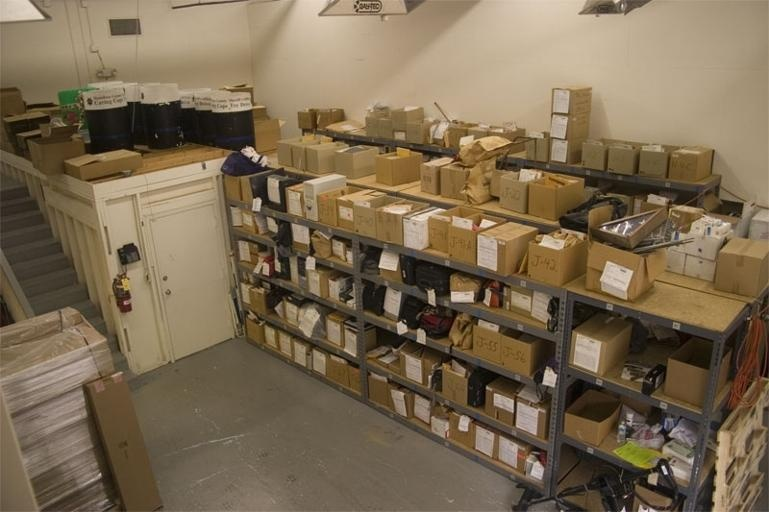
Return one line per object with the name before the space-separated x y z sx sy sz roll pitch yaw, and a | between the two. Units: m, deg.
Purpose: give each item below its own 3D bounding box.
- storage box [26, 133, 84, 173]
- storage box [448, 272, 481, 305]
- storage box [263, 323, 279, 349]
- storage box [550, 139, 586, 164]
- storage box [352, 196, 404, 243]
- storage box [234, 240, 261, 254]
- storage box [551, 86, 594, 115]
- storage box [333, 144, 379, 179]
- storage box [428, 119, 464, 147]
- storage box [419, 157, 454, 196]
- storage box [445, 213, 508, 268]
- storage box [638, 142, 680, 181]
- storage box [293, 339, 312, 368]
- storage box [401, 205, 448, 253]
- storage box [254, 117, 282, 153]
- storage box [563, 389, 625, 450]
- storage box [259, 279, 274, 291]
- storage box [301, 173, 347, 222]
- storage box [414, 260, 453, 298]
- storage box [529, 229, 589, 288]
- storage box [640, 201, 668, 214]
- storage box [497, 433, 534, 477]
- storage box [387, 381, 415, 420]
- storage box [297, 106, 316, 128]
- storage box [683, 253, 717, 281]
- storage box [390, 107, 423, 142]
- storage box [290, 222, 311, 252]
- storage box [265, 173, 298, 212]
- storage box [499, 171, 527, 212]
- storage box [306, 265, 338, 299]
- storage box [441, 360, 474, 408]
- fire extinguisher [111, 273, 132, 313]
storage box | -3.837 -1.229 6.195 0.528 0.315 0.534 20 31 33
storage box | 0.742 0.305 4.951 0.274 0.256 0.208 8 3 41
storage box | -1.435 1.008 6.719 0.273 0.251 0.164 20 32 36
storage box | 2.124 -1.192 6.161 0.314 0.213 0.316 -17 27 -39
storage box | -0.056 -0.355 5.454 0.477 0.285 0.466 19 37 32
storage box | -1.744 -0.118 6.723 0.337 0.172 0.226 10 15 29
storage box | 2.173 -1.765 6.127 0.392 0.279 0.400 18 28 41
storage box | -0.314 -1.087 6.257 0.350 0.308 0.484 24 34 38
storage box | 0.778 -1.566 6.778 0.381 0.246 0.377 17 35 33
storage box | 0.552 -0.813 5.509 0.185 0.258 0.365 17 35 34
storage box | 0.834 -0.164 4.903 0.494 0.294 0.489 16 32 34
storage box | 2.882 -1.028 5.644 0.385 0.362 0.393 11 28 33
storage box | -0.977 1.170 6.390 0.177 0.285 0.309 -20 28 -41
storage box | 0.314 -0.290 5.190 0.348 0.586 0.434 17 18 38
storage box | -1.641 -1.689 7.446 0.172 0.425 0.543 19 29 36
storage box | 1.855 1.420 4.676 0.333 0.186 0.544 7 15 36
storage box | -1.520 0.367 6.796 0.236 0.123 0.161 15 8 38
storage box | -0.652 -0.610 5.724 0.157 0.366 0.452 17 29 37
storage box | 0.460 0.209 5.125 0.296 0.266 0.391 -13 19 -37
storage box | 1.461 -0.018 4.539 0.527 0.365 0.381 -20 26 -39
storage box | 2.562 -0.456 5.012 0.183 0.107 0.181 7 27 28
storage box | 1.213 1.865 5.003 0.314 0.290 0.097 16 28 33
storage box | 0.186 1.524 5.607 0.378 0.351 0.161 20 38 40
storage box | -1.206 -2.138 8.176 0.326 0.302 0.319 8 23 33
storage box | 2.638 0.101 4.421 0.211 0.198 0.149 17 15 32
storage box | 0.409 -1.732 7.067 0.506 0.378 0.524 -19 32 -28
storage box | -0.951 -0.221 6.017 0.225 0.296 0.160 22 39 29
storage box | -1.190 -0.709 6.082 0.364 0.346 0.267 20 31 32
storage box | 1.237 -0.603 5.048 0.295 0.277 0.221 23 40 37
storage box | -0.690 0.262 6.179 0.362 0.332 0.347 21 35 35
storage box | 0.719 1.256 5.167 0.344 0.454 0.258 26 44 34
fire extinguisher | -3.010 0.442 6.105 0.201 0.478 0.182 -17 29 -34
